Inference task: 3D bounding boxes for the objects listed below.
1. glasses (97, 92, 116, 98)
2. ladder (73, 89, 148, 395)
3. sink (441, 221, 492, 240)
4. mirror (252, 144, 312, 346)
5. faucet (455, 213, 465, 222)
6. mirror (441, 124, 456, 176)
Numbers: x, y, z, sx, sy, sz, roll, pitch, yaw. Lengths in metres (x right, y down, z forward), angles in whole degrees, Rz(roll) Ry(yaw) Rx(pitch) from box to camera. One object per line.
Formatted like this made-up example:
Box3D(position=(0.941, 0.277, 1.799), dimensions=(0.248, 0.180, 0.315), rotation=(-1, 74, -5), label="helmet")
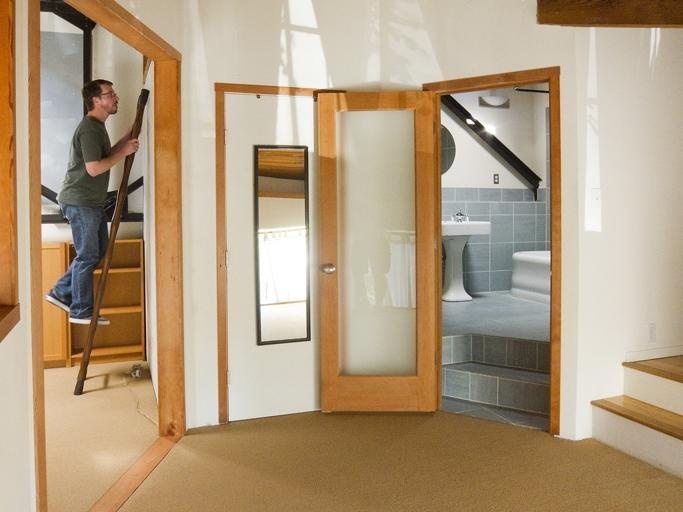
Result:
Box3D(position=(-1.920, -1.340, 4.848), dimensions=(0.049, 0.044, 0.163), rotation=(6, 14, 25), label="glasses")
Box3D(position=(-1.999, -0.187, 5.092), dimensions=(0.768, 2.459, 1.183), rotation=(-5, 14, -20), label="ladder")
Box3D(position=(1.314, -0.298, 6.372), dimensions=(0.639, 0.188, 0.200), rotation=(-6, 14, -24), label="sink")
Box3D(position=(-0.434, -0.083, 4.367), dimensions=(0.438, 1.441, 0.356), rotation=(-3, 13, -10), label="mirror")
Box3D(position=(1.410, -0.455, 6.893), dimensions=(0.104, 0.137, 0.114), rotation=(9, 5, 3), label="faucet")
Box3D(position=(1.277, -1.262, 6.906), dimensions=(0.156, 0.539, 0.115), rotation=(-2, 13, -6), label="mirror")
